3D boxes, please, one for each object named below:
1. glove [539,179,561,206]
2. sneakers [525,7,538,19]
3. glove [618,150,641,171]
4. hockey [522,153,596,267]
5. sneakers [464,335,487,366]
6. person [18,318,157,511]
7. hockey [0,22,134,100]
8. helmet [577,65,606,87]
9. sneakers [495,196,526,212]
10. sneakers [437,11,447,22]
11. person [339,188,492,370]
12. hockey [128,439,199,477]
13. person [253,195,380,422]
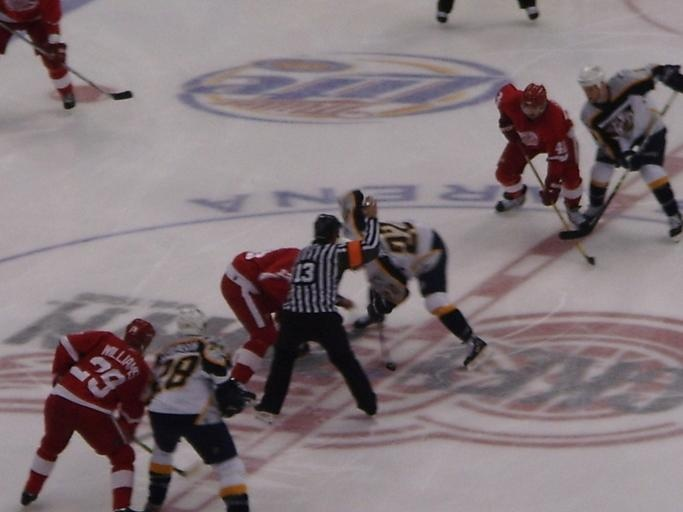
[{"bbox_3d":[1.545,-0.477,6.257,0.085,0.179,0.169,6,1,-44],"label":"glove"},{"bbox_3d":[2.065,-2.632,9.061,0.147,0.096,0.119,3,-9,-11],"label":"sneakers"},{"bbox_3d":[2.122,-0.698,6.136,0.181,0.128,0.149,0,-9,-4],"label":"glove"},{"bbox_3d":[1.661,-0.318,6.379,0.182,1.089,0.051,-32,7,37],"label":"hockey"},{"bbox_3d":[0.831,0.608,5.253,0.147,0.229,0.120,-6,25,6],"label":"sneakers"},{"bbox_3d":[-1.431,0.915,4.625,0.640,0.889,0.608,-1,25,16],"label":"person"},{"bbox_3d":[-2.788,-1.922,8.404,1.718,0.227,0.218,31,34,0],"label":"hockey"},{"bbox_3d":[1.785,-1.271,5.961,0.198,0.098,0.164,-2,33,23],"label":"helmet"},{"bbox_3d":[1.334,-0.404,6.702,0.299,0.112,0.081,-11,65,11],"label":"sneakers"},{"bbox_3d":[1.097,-2.648,9.249,0.139,0.094,0.127,2,-6,1],"label":"sneakers"},{"bbox_3d":[0.492,0.210,5.626,0.780,0.986,0.916,-34,43,-12],"label":"person"},{"bbox_3d":[-1.003,1.142,4.694,0.513,0.054,0.054,29,50,1],"label":"hockey"},{"bbox_3d":[-0.080,0.414,4.978,0.598,1.097,0.885,6,27,29],"label":"person"}]
